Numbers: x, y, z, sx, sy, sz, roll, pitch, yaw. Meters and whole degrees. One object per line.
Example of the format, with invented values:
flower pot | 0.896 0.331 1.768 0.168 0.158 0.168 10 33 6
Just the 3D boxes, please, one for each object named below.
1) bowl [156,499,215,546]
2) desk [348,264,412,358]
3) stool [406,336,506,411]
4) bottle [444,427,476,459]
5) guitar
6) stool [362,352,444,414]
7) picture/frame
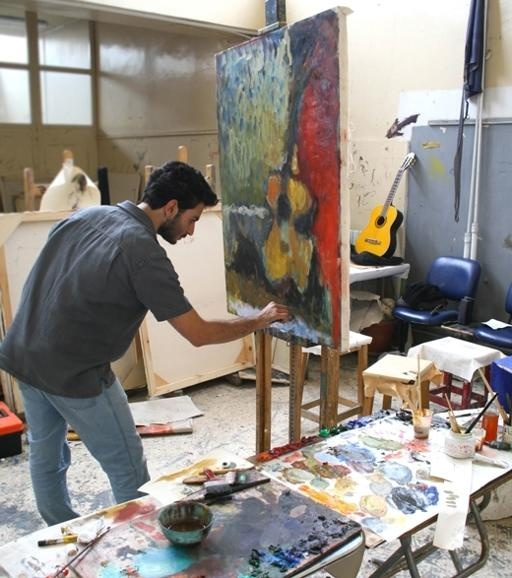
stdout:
bowl | -0.140 0.479 1.039 0.071 0.038 0.074 -2 8 0
desk | 0.997 0.181 4.001 0.628 0.685 0.572 -1 16 -7
stool | 1.114 0.561 3.088 0.490 0.393 0.490 12 0 -26
bottle | 0.600 0.448 1.475 0.071 0.068 0.076 0 8 15
guitar | 1.070 -0.747 4.395 0.423 0.863 0.496 -10 13 -36
stool | 0.613 0.432 2.181 0.248 0.301 0.264 22 31 39
picture/frame | -0.542 0.109 2.107 1.187 0.918 0.379 -16 2 -37
